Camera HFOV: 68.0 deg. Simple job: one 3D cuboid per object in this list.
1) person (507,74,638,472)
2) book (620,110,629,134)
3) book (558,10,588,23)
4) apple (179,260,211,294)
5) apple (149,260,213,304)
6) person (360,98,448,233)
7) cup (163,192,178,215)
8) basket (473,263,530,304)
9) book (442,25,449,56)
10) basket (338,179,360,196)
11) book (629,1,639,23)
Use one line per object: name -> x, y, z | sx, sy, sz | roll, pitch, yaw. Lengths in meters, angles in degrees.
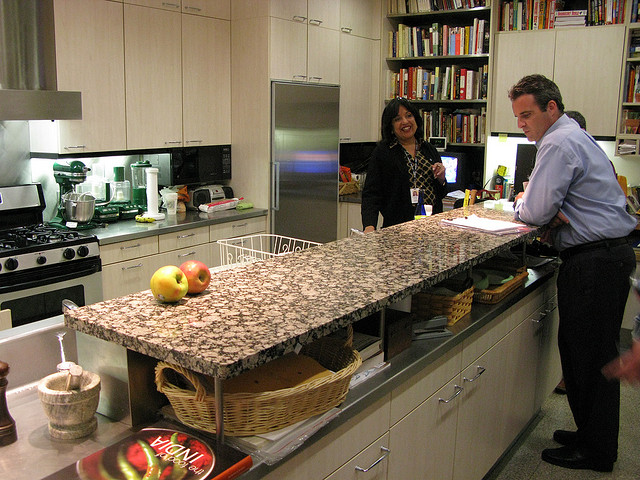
person -> 1.411, 0.230, 2.644 | 0.720, 2.244, 0.357 | 5, 13, 25
book -> 2.932, -1.140, 4.546 | 0.028, 0.306, 0.217 | 8, 0, 36
book -> 2.510, -2.242, 4.700 | 0.170, 0.042, 0.170 | 11, 17, 34
apple -> -0.407, 0.124, 1.557 | 0.098, 0.105, 0.100 | -1, -4, 33
apple -> -0.453, 0.139, 1.555 | 0.106, 0.124, 0.224 | 8, 10, 26
person -> 0.633, -0.545, 3.456 | 0.705, 0.949, 0.378 | -2, 12, -8
cup -> -1.384, -0.337, 4.401 | 0.114, 0.202, 0.070 | -5, 13, -18
basket -> 0.941, 0.230, 2.560 | 0.290, 0.085, 0.543 | 7, 15, 28
book -> 1.443, -2.316, 5.423 | 0.039, 0.385, 0.274 | 2, 15, 16
basket -> 0.364, -0.622, 5.593 | 0.095, 0.139, 0.435 | 9, 16, 37
book -> 2.961, -2.170, 4.441 | 0.072, 0.190, 0.033 | 7, 14, 32
